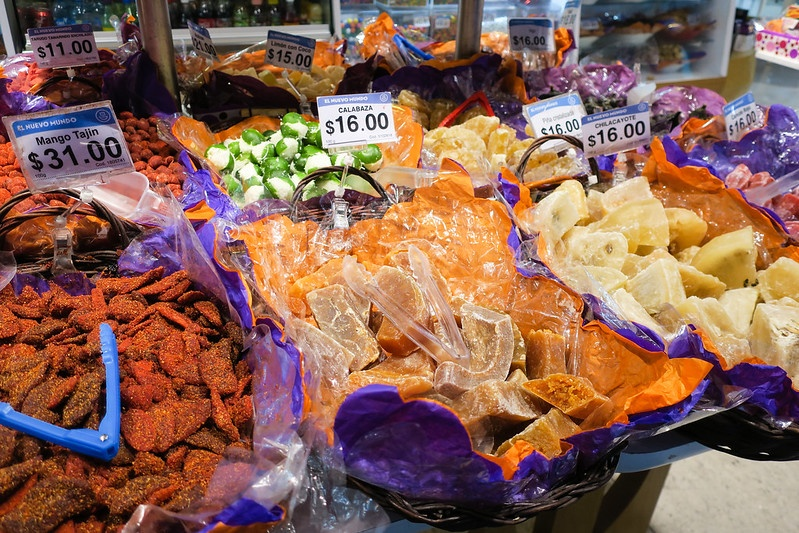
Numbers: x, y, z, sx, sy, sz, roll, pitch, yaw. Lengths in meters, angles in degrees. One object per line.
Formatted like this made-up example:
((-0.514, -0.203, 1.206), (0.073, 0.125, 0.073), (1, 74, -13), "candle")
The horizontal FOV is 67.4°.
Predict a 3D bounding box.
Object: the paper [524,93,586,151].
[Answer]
((0.637, -0.621, 2.483), (0.265, 0.270, 0.062), (-19, 11, -22), "paper")

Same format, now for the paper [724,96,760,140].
((1.439, -0.613, 2.509), (0.149, 0.170, 0.022), (-30, 24, -10), "paper")

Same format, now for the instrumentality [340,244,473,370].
((0.022, 0.109, 1.738), (0.384, 0.279, 0.235), (4, 20, 10), "instrumentality")

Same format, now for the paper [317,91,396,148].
((-0.172, -0.560, 2.318), (0.234, 0.171, 0.013), (-9, 15, -10), "paper")

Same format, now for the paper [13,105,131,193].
((-1.046, -0.363, 1.898), (0.268, 0.212, 0.039), (-24, 11, -14), "paper")
